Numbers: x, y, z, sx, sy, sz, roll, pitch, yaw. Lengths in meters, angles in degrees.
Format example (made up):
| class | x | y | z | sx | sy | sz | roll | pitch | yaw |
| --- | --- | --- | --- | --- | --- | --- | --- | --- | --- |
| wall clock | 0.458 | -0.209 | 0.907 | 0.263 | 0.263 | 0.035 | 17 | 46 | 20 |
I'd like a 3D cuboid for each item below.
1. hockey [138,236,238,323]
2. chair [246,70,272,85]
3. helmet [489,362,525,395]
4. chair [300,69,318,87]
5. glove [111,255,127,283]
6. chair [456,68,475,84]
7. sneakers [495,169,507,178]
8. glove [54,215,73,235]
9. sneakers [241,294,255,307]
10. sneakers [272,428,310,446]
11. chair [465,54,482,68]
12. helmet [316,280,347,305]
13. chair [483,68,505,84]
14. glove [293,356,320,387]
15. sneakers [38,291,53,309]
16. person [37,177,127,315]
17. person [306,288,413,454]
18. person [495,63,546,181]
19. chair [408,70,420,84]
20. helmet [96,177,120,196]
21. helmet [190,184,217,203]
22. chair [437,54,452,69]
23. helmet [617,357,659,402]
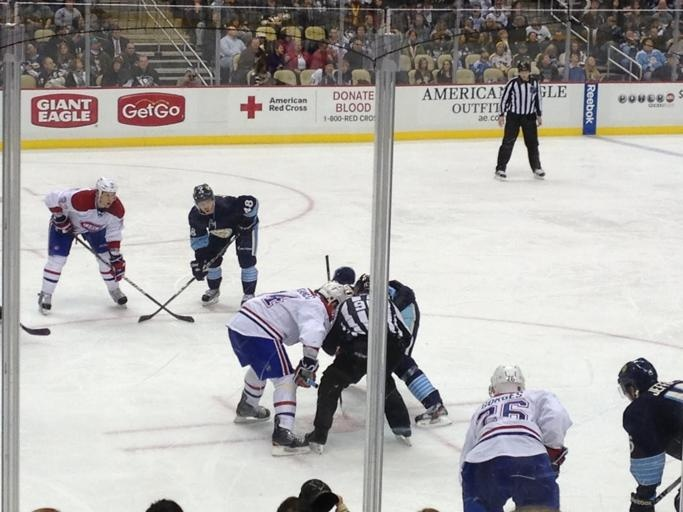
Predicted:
| class | x | y | z | sx | sy | sz | roll | pitch | yaw |
| --- | --- | --- | --- | --- | --- | --- | --- | --- | --- |
| hockey | -1.161 | 0.219 | 8.083 | 0.327 | 0.049 | 0.991 | 36 | 63 | 26 |
| chair | -1.155 | -2.502 | 14.642 | 0.411 | 0.132 | 0.277 | -2 | 32 | 1 |
| helmet | 0.882 | 0.656 | 5.574 | 0.142 | 0.156 | 0.180 | 1 | 4 | 2 |
| chair | -0.445 | -2.576 | 15.023 | 0.214 | 0.272 | 0.229 | -1 | 11 | -7 |
| glove | -1.731 | 0.086 | 8.120 | 0.132 | 0.175 | 0.076 | 1 | 1 | -36 |
| chair | 1.845 | -2.698 | 15.701 | 0.265 | 0.260 | 0.230 | -2 | 18 | -7 |
| sneakers | 1.985 | -1.023 | 13.007 | 0.120 | 0.118 | 0.134 | 0 | 13 | 5 |
| glove | -2.098 | -0.241 | 7.882 | 0.102 | 0.136 | 0.052 | -10 | 48 | 16 |
| sneakers | -0.726 | 0.343 | 8.099 | 0.099 | 0.117 | 0.282 | -2 | -2 | 0 |
| sneakers | -0.304 | 1.048 | 6.060 | 0.228 | 0.099 | 0.084 | 2 | 7 | -13 |
| chair | 1.961 | -2.945 | 15.638 | 0.215 | 0.241 | 0.197 | -2 | 36 | -2 |
| helmet | -0.057 | 0.225 | 6.281 | 0.156 | 0.143 | 0.119 | -16 | 30 | 4 |
| chair | 2.292 | -2.726 | 15.766 | 0.240 | 0.299 | 0.246 | 3 | 28 | 5 |
| glove | -0.216 | 0.671 | 6.050 | 0.143 | 0.178 | 0.173 | 20 | -11 | -15 |
| sneakers | -2.243 | 0.353 | 7.908 | 0.062 | 0.172 | 0.074 | 4 | -22 | -35 |
| person | -1.969 | -0.131 | 8.071 | 0.685 | 1.075 | 0.602 | 4 | 18 | -13 |
| person | 0.092 | 0.659 | 5.922 | 0.642 | 0.625 | 1.045 | 8 | 52 | 2 |
| person | 2.249 | -1.717 | 13.105 | 0.616 | 1.427 | 0.747 | 1 | 14 | 10 |
| chair | 1.053 | -2.630 | 15.343 | 0.170 | 0.213 | 0.184 | 1 | 40 | 0 |
| helmet | -1.740 | -0.526 | 7.857 | 0.138 | 0.173 | 0.184 | -13 | 24 | -44 |
| helmet | -1.067 | -0.500 | 8.101 | 0.156 | 0.175 | 0.191 | -12 | -13 | -9 |
| chair | 1.510 | -2.873 | 15.380 | 0.197 | 0.244 | 0.212 | -1 | 22 | -4 |
| helmet | 1.595 | 0.630 | 5.497 | 0.177 | 0.221 | 0.223 | -5 | 21 | -19 |
